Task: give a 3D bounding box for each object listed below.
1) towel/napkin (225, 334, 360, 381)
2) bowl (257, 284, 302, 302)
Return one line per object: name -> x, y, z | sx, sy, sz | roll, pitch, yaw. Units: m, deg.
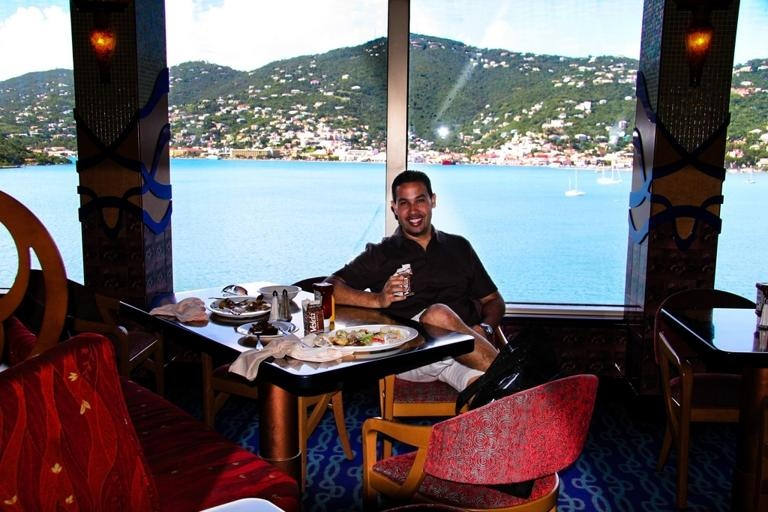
towel/napkin -> -0.397, 0.396, 2.409 | 0.283, 0.104, 0.281 | 8, 12, 28
bowl -> -0.570, 0.181, 3.215 | 0.132, 0.033, 0.121 | -1, 11, 0
